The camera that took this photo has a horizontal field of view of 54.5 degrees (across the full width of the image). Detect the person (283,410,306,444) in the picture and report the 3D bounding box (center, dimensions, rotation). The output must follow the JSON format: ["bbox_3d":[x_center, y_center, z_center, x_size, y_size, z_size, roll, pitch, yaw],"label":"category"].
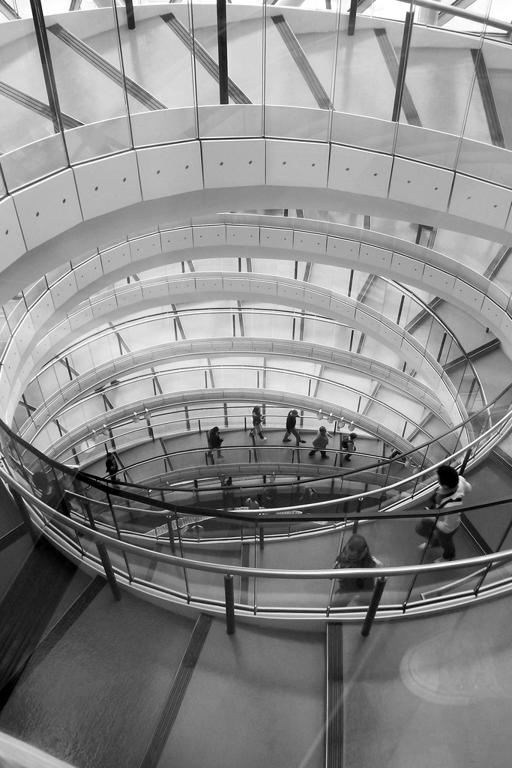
[{"bbox_3d":[1.980,2.289,25.572,0.931,0.611,1.820,-10,-18,2],"label":"person"}]

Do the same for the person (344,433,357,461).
[{"bbox_3d":[4.251,2.899,22.405,0.532,0.698,1.411,-12,-37,-4],"label":"person"}]

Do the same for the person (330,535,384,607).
[{"bbox_3d":[0.998,2.010,5.056,0.513,0.337,1.071,6,-75,16],"label":"person"}]
